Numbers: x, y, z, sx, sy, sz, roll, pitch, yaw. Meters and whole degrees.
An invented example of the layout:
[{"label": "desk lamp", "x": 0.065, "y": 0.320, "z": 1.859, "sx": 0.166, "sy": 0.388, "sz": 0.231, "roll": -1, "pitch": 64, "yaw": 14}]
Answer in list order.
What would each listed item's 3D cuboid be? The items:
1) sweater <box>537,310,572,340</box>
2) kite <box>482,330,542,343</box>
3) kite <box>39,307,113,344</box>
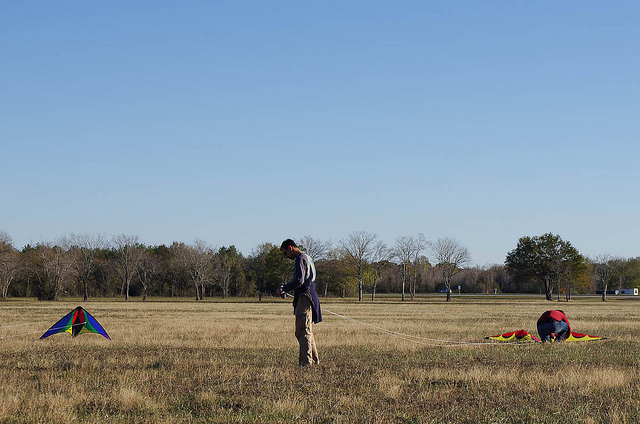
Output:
[{"label": "sweater", "x": 12.824, "y": 6.280, "z": 54.213, "sx": 1.219, "sy": 1.713, "sz": 0.760, "roll": 2, "pitch": -28, "yaw": 15}, {"label": "kite", "x": 10.643, "y": 6.830, "z": 53.996, "sx": 2.863, "sy": 0.384, "sz": 2.306, "roll": 0, "pitch": 0, "yaw": 13}, {"label": "kite", "x": -12.724, "y": 6.040, "z": 52.932, "sx": 2.953, "sy": 1.677, "sz": 2.136, "roll": 0, "pitch": 0, "yaw": -8}]
